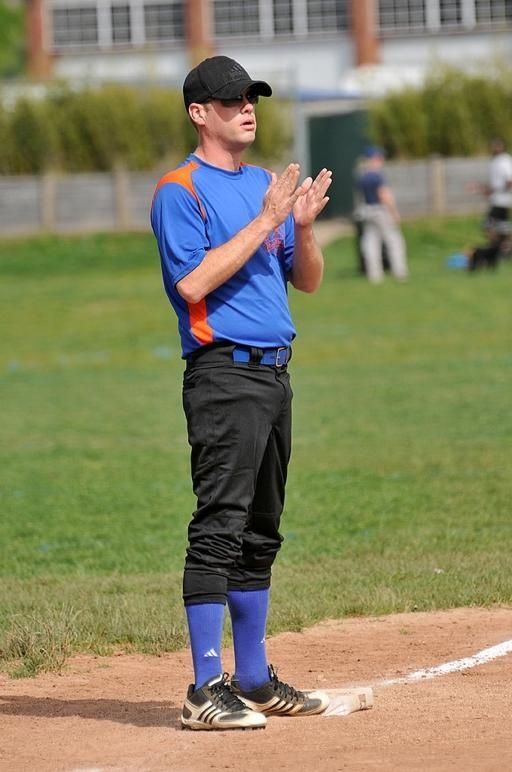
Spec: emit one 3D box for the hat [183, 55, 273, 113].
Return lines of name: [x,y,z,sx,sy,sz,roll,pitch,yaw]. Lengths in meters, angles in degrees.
hat: [-0.108,-0.978,4.800,0.290,0.164,0.195,-6,7,40]

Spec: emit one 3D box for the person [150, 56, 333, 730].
person: [-0.034,0.021,4.790,0.572,2.115,0.638,-1,10,-6]

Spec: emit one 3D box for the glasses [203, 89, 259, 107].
glasses: [-0.064,-0.900,4.745,0.075,0.036,0.119,-6,-4,-42]

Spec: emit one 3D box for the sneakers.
sneakers: [-0.030,1.004,4.795,0.542,0.236,0.181,-2,1,-12]
